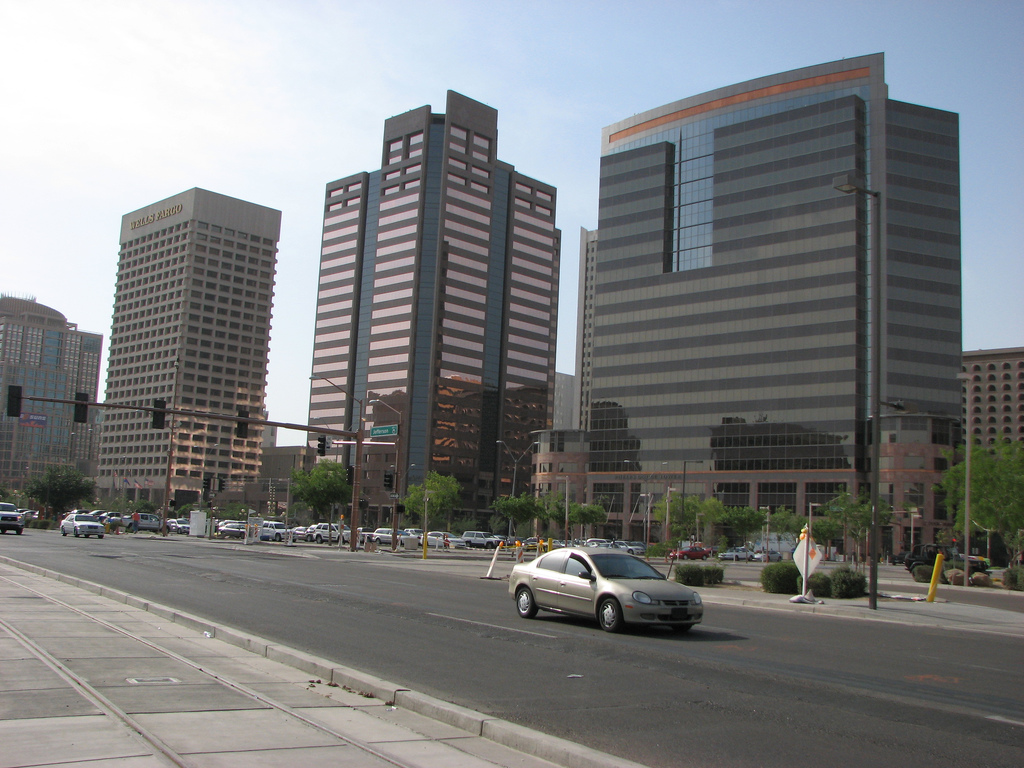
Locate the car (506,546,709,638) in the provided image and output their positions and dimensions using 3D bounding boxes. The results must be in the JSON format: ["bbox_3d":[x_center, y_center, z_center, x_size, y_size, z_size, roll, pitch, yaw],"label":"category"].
[{"bbox_3d":[1.972,4.514,20.243,1.819,1.363,4.010,8,-14,-35],"label":"car"}]
